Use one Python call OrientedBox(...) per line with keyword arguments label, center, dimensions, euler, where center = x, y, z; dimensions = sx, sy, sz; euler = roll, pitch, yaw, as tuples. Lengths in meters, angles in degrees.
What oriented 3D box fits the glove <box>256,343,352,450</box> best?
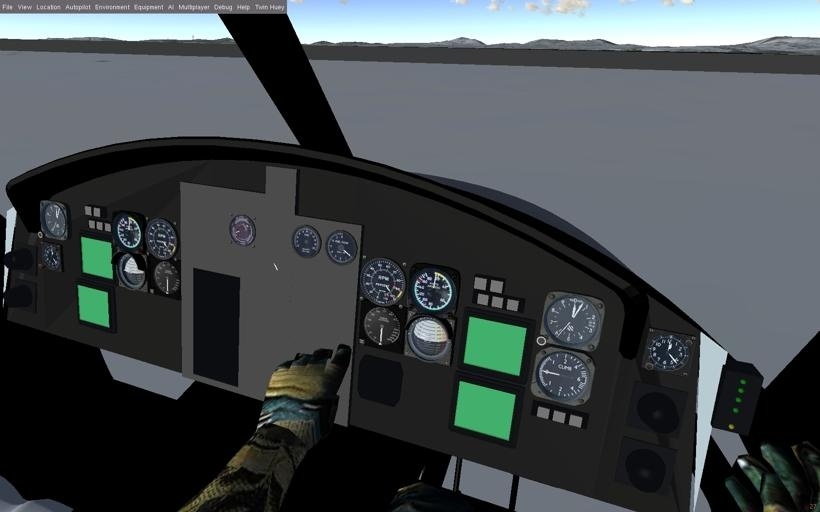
OrientedBox(label="glove", center=(-0.779, 0.915, 4.119), dimensions=(0.538, 0.192, 0.817), euler=(12, 34, 8))
